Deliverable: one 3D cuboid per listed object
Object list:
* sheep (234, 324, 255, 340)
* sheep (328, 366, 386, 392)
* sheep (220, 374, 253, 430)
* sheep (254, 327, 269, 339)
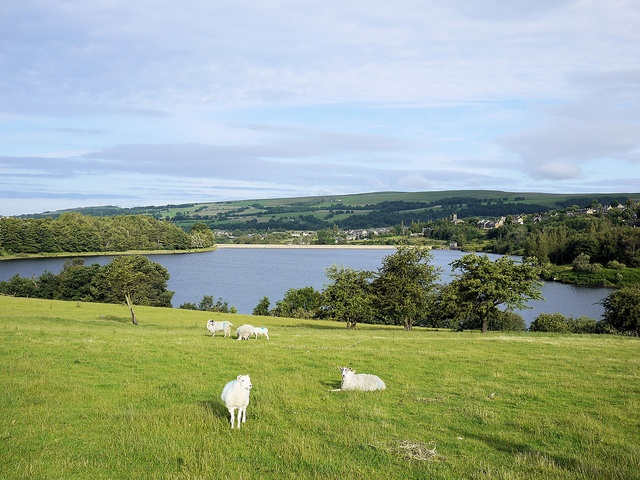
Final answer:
[{"bbox_3d":[-5.921,7.254,45.155,1.124,1.065,1.809,0,1,10],"label":"sheep"},{"bbox_3d":[2.147,7.708,31.841,3.374,1.214,1.152,4,-25,-2],"label":"sheep"},{"bbox_3d":[-3.808,7.387,26.862,1.074,2.411,1.421,-2,3,-41],"label":"sheep"},{"bbox_3d":[-4.733,7.515,46.287,1.094,0.893,1.962,-1,1,-8],"label":"sheep"}]
